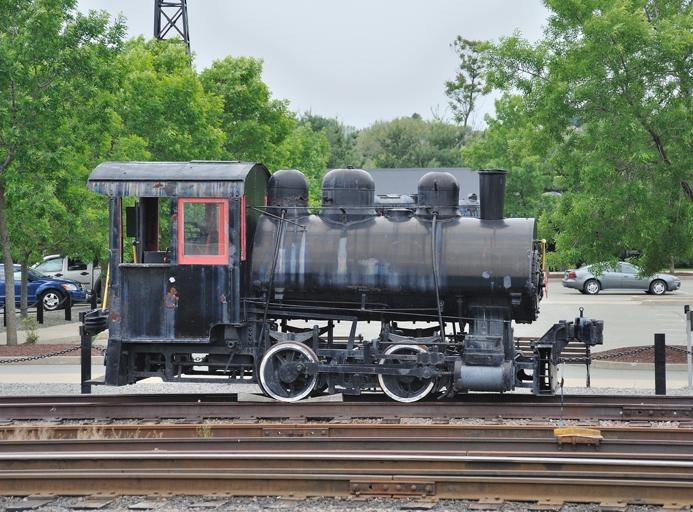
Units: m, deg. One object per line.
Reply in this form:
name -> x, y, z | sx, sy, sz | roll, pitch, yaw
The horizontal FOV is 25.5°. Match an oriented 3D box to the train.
train -> -0.727, 0.581, 38.140 | 10.878, 6.040, 1.376 | -1, 2, 3

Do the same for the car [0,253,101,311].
car -> -10.685, 0.999, 54.142 | 3.199, 1.434, 1.694 | -1, 4, -9
